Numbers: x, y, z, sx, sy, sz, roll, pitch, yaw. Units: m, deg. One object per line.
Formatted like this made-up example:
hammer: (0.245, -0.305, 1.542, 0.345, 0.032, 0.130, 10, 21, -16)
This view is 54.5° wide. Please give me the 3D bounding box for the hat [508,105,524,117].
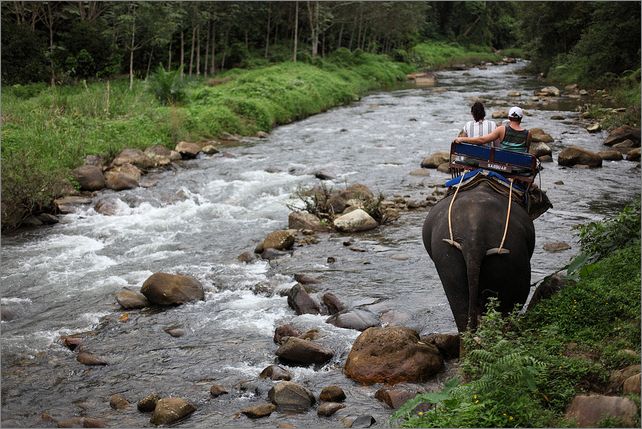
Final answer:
hat: (4.446, -2.312, 14.193, 0.251, 0.183, 0.382, 2, 23, 17)
